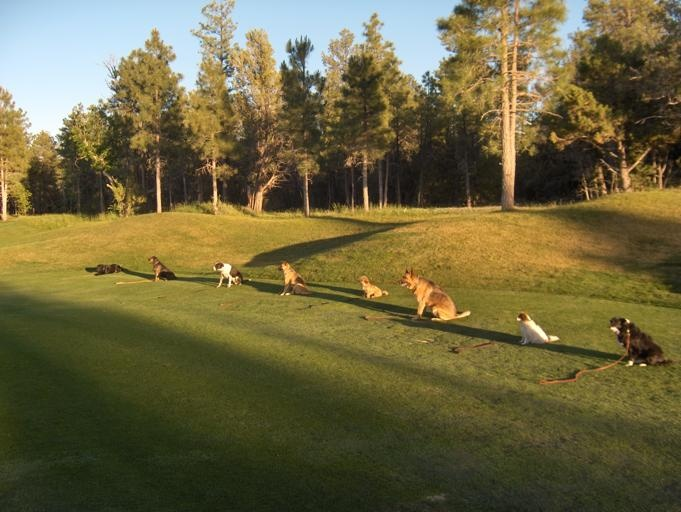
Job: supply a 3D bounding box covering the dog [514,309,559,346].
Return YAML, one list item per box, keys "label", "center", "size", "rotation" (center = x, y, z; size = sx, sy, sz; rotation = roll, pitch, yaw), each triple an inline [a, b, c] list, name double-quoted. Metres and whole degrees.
- label: "dog"
  center: [4.459, 1.623, 14.262]
  size: [0.977, 0.681, 0.469]
  rotation: [2, 5, 2]

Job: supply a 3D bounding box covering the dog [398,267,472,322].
- label: "dog"
  center: [2.449, 1.039, 16.350]
  size: [1.871, 1.284, 0.690]
  rotation: [10, -12, 4]

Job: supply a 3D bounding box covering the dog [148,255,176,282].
- label: "dog"
  center: [-6.507, 0.460, 22.926]
  size: [0.693, 0.785, 0.957]
  rotation: [-3, 9, -25]

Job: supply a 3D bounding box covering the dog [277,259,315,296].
- label: "dog"
  center: [-1.448, 0.707, 19.601]
  size: [0.935, 0.938, 0.734]
  rotation: [3, 9, 19]

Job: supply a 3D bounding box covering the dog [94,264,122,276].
- label: "dog"
  center: [-9.452, 0.530, 25.314]
  size: [1.261, 0.498, 0.440]
  rotation: [1, -2, -40]

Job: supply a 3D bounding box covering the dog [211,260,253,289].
- label: "dog"
  center: [-3.878, 0.647, 21.757]
  size: [1.236, 0.950, 0.730]
  rotation: [5, -5, -36]

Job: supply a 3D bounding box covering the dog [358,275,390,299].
- label: "dog"
  center: [1.062, 0.906, 19.355]
  size: [0.793, 0.635, 1.083]
  rotation: [1, 8, 4]
